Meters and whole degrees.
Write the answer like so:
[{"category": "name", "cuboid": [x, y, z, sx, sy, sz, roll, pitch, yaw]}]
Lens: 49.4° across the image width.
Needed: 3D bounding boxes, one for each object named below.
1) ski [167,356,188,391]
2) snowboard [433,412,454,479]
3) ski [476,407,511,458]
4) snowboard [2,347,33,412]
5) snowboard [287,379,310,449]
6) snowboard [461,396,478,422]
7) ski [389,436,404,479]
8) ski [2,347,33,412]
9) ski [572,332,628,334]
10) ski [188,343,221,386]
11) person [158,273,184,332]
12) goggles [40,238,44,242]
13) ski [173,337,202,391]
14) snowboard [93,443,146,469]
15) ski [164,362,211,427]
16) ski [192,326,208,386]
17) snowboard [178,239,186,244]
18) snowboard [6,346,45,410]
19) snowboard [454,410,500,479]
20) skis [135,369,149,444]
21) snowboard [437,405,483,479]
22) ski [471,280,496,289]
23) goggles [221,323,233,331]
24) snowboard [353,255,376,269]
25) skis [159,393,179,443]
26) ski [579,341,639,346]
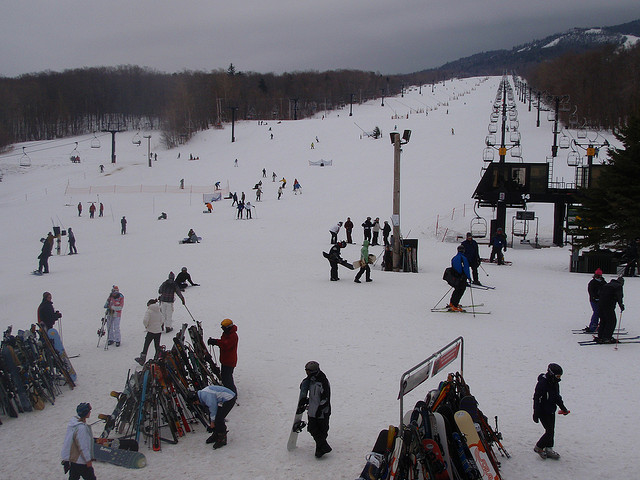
[{"category": "ski", "cuboid": [-3.882, 3.653, 18.785, 0.112, 0.904, 0.195, -23, 5, -6]}, {"category": "snowboard", "cuboid": [2.865, 4.706, 16.131, 0.338, 1.611, 0.265, -6, -7, -5]}, {"category": "ski", "cuboid": [4.308, 4.847, 17.171, 0.275, 1.337, 0.228, -31, -6, 24]}, {"category": "snowboard", "cuboid": [-8.326, 3.928, 19.048, 0.168, 1.768, 0.167, -11, 4, 20]}, {"category": "snowboard", "cuboid": [-0.508, 4.410, 17.432, 0.268, 2.132, 0.422, 11, -2, 45]}, {"category": "snowboard", "cuboid": [3.586, 3.996, 16.502, 0.340, 1.250, 0.135, -5, 23, 1]}, {"category": "ski", "cuboid": [1.746, 4.953, 15.735, 0.199, 1.104, 0.253, 5, -7, 5]}, {"category": "ski", "cuboid": [-8.332, 3.920, 19.046, 0.176, 1.800, 0.185, -22, 0, 24]}, {"category": "ski", "cuboid": [9.010, 3.039, 22.427, 1.557, 0.072, 0.150, -2, 5, 11]}, {"category": "ski", "cuboid": [-3.310, 3.606, 19.754, 0.143, 1.433, 0.159, -30, 6, 47]}, {"category": "person", "cuboid": [-5.106, 2.151, 23.728, 0.758, 2.040, 0.546, 5, 0, 11]}, {"category": "goggles", "cuboid": [-14.548, 0.014, 36.346, 0.152, 0.180, 0.048, -6, 24, -12]}, {"category": "ski", "cuboid": [-3.687, 3.522, 19.249, 0.174, 1.491, 0.066, -23, -2, 27]}, {"category": "snowboard", "cuboid": [-4.979, 5.393, 17.177, 1.116, 0.416, 0.301, 13, -10, 11]}, {"category": "ski", "cuboid": [-3.573, 4.202, 18.476, 0.225, 1.711, 0.291, -27, 6, 12]}, {"category": "ski", "cuboid": [-3.425, 3.379, 19.757, 0.146, 1.622, 0.150, -13, -2, 38]}, {"category": "snowboard", "cuboid": [-8.118, 0.103, 40.695, 0.319, 0.252, 1.109, -4, 6, -17]}, {"category": "snowboard", "cuboid": [-8.183, 3.901, 19.190, 0.313, 1.848, 0.252, -37, -9, 28]}, {"category": "snowboard", "cuboid": [3.612, 4.750, 16.123, 0.484, 2.236, 0.352, -15, -12, -15]}, {"category": "skis", "cuboid": [-4.618, 4.361, 18.044, 0.135, 2.177, 0.233, -4, -20, 13]}, {"category": "snowboard", "cuboid": [3.276, 4.589, 16.539, 0.527, 2.444, 0.410, -22, -13, 10]}, {"category": "ski", "cuboid": [6.627, 1.841, 28.182, 1.107, 0.146, 0.185, 15, 54, 26]}, {"category": "goggles", "cuboid": [-2.497, 2.432, 18.919, 0.258, 0.148, 0.197, -25, 13, -6]}, {"category": "snowboard", "cuboid": [1.806, 1.003, 29.537, 0.511, 0.369, 0.838, -13, 3, 43]}, {"category": "skis", "cuboid": [-3.917, 4.661, 18.081, 0.177, 1.227, 0.203, -31, -8, 24]}, {"category": "ski", "cuboid": [9.081, 3.260, 21.718, 1.803, 0.056, 0.145, -2, 5, 1]}]
